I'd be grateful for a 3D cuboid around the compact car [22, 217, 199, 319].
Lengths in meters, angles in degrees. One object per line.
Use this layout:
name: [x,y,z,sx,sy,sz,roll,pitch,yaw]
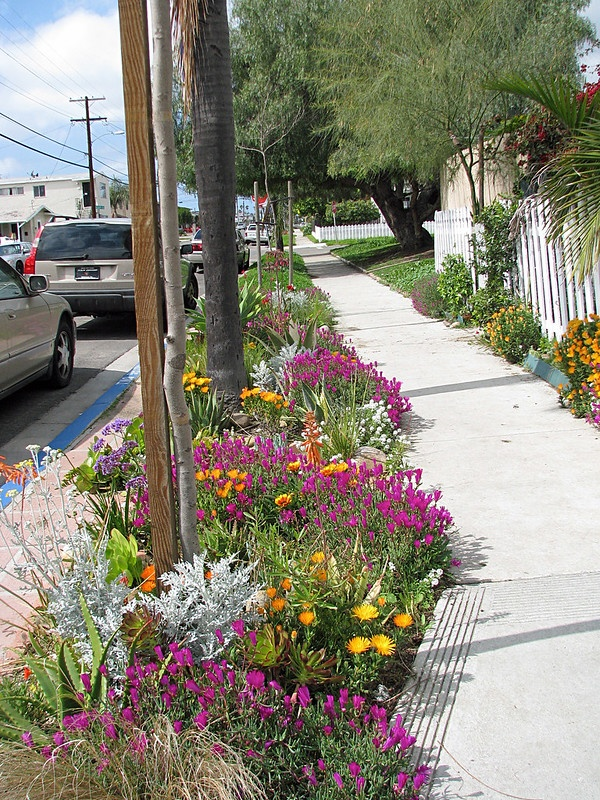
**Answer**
compact car: [-4.269,-2.105,13.294,2.602,2.406,4.737,-2,-4,-11]
